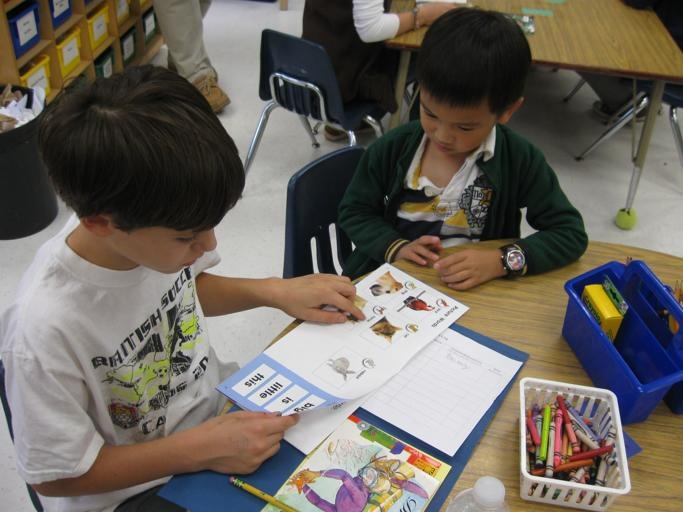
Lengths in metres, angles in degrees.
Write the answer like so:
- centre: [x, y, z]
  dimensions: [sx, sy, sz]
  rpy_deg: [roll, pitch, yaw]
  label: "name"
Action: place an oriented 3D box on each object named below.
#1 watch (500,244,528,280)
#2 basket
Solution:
- centre: [0.441, 0.002, 1.300]
  dimensions: [0.047, 0.086, 0.076]
  rpy_deg: [-6, 13, 15]
  label: "watch"
- centre: [0.414, 0.336, 0.910]
  dimensions: [0.205, 0.091, 0.194]
  rpy_deg: [6, 45, 7]
  label: "basket"
